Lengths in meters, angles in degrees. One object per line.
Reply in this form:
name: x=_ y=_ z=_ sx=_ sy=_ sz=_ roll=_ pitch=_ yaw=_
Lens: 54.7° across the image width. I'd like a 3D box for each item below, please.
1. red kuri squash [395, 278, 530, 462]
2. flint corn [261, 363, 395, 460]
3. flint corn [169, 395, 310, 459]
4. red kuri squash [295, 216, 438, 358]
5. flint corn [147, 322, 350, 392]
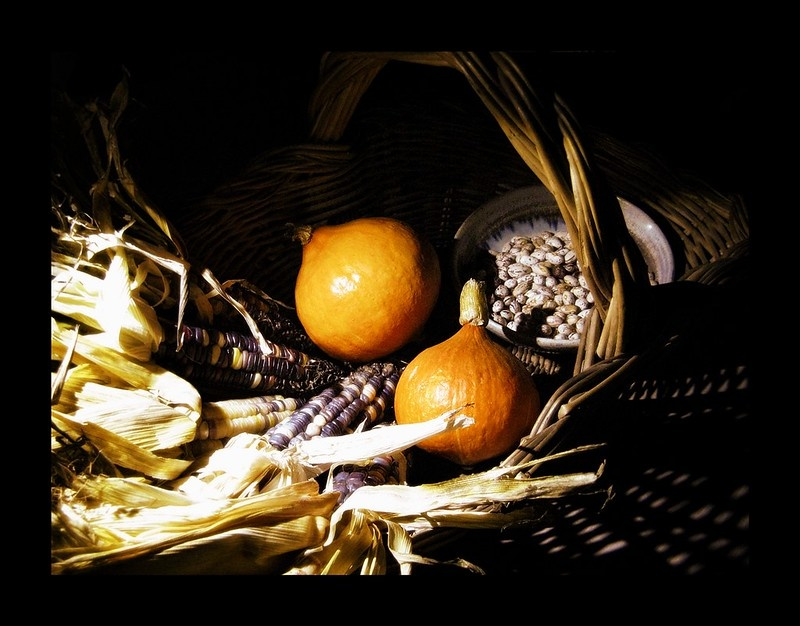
red kuri squash: x=0.108 y=0.090 z=1.059 sx=0.183 sy=0.260 sz=0.196 roll=-2 pitch=-8 yaw=29
flint corn: x=-0.093 y=0.142 z=1.184 sx=0.070 sy=0.073 sz=0.272 roll=29 pitch=35 yaw=33
flint corn: x=-0.225 y=0.143 z=1.106 sx=0.054 sy=0.061 sz=0.198 roll=20 pitch=22 yaw=40
red kuri squash: x=-0.069 y=-0.075 z=1.221 sx=0.245 sy=0.195 sz=0.285 roll=-4 pitch=22 yaw=-10
flint corn: x=-0.223 y=0.073 z=1.175 sx=0.339 sy=0.107 sz=0.081 roll=9 pitch=6 yaw=-21
